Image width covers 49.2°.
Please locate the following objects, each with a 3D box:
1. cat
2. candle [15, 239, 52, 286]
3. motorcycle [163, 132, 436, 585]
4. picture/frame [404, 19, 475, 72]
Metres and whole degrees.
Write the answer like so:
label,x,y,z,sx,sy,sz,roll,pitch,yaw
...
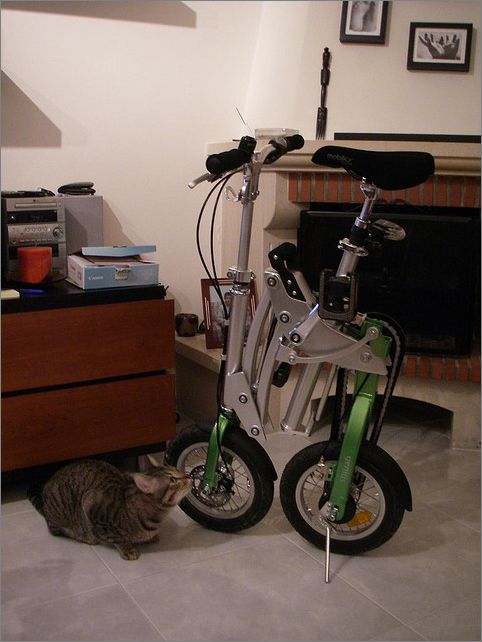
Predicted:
label,x,y,z,sx,sy,sz,roll,pitch,yaw
cat,-0.420,0.530,1.625,0.592,0.289,0.197,5,16,23
candle,-0.693,-0.199,1.756,0.120,0.132,0.121,13,20,22
motorcycle,0.133,0.102,1.529,0.748,1.128,0.471,5,8,20
picture/frame,0.889,-1.223,2.322,0.213,0.172,0.017,7,8,7
